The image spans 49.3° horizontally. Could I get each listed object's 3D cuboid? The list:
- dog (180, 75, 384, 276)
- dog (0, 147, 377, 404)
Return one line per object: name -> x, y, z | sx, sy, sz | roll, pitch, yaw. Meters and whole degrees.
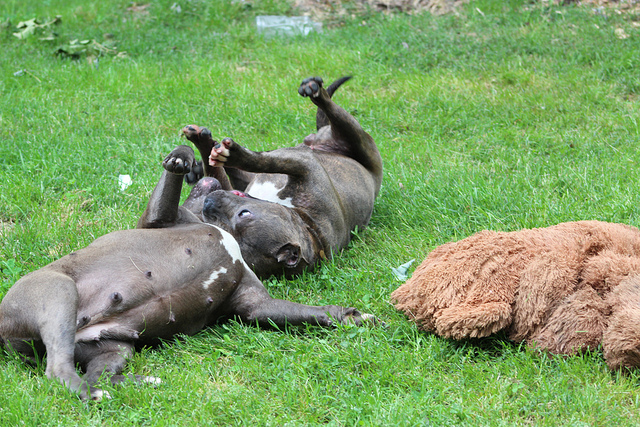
dog -> -0.363, -0.174, 6.396 | 1.238, 1.114, 2.577 | 12, 41, 21
dog -> -1.106, 0.513, 5.549 | 1.795, 0.833, 2.401 | 37, 34, 30
